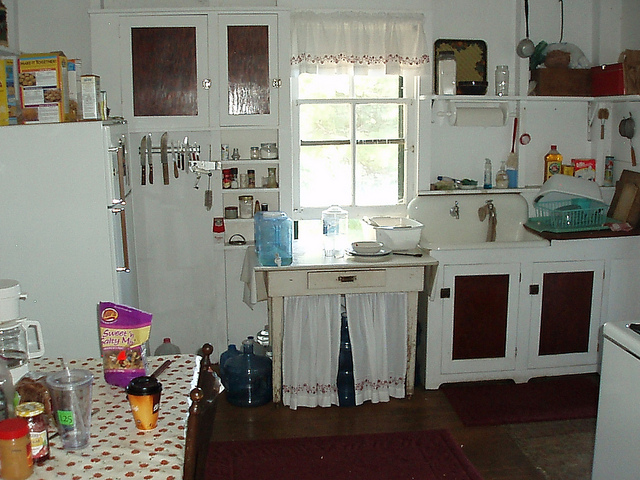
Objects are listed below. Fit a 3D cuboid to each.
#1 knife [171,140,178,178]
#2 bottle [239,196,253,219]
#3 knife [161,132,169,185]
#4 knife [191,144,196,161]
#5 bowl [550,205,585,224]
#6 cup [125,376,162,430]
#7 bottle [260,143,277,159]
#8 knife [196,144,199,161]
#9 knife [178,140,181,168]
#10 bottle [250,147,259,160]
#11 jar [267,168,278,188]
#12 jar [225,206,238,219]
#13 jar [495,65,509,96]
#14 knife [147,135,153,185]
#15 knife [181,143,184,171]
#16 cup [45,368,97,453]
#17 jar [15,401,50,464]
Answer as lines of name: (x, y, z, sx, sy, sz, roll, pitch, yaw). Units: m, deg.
knife: (-1.059, -0.581, 4.187, 0.036, 0.264, 0.024, -5, 8, 1)
bottle: (-0.579, -0.250, 4.526, 0.141, 0.233, 0.143, 1, 8, 0)
knife: (-1.098, -0.590, 4.117, 0.059, 0.386, 0.032, 0, 20, -4)
knife: (-0.948, -0.659, 4.349, 0.026, 0.119, 0.014, -5, 12, 19)
bowl: (1.839, -0.202, 4.284, 0.182, 0.070, 0.124, -6, 16, 0)
cup: (-0.671, 0.631, 2.212, 0.142, 0.172, 0.144, -2, -3, 0)
bottle: (-0.398, -0.680, 4.392, 0.109, 0.099, 0.112, -1, 7, -6)
knife: (-0.923, -0.664, 4.344, 0.018, 0.131, 0.011, 0, 21, 8)
knife: (-1.030, -0.625, 4.253, 0.021, 0.163, 0.029, 2, 1, 4)
bottle: (-0.507, -0.671, 4.475, 0.081, 0.120, 0.083, 1, 9, 0)
jar: (-0.372, -0.484, 4.489, 0.076, 0.146, 0.072, -2, 11, 0)
jar: (-0.693, -0.212, 4.507, 0.086, 0.074, 0.088, 1, 8, 0)
jar: (1.457, -1.282, 4.650, 0.093, 0.229, 0.093, -2, 11, 0)
knife: (-1.216, -0.597, 4.144, 0.049, 0.436, 0.035, 1, -7, -1)
knife: (-1.022, -0.624, 4.282, 0.028, 0.182, 0.112, -5, 12, -13)
cup: (-0.909, 0.628, 2.126, 0.162, 0.267, 0.168, -4, 2, 0)
jar: (-0.999, 0.682, 2.017, 0.102, 0.186, 0.104, -5, -4, 0)
